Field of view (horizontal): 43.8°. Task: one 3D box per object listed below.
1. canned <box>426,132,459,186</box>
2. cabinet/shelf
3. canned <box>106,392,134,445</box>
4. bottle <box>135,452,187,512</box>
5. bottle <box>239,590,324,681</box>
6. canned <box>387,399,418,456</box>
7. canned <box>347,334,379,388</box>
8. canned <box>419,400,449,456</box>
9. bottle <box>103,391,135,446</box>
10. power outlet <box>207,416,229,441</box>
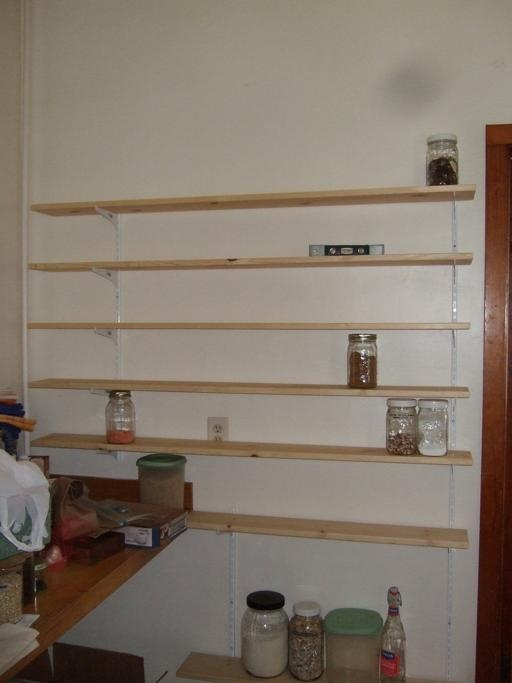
[{"bbox_3d":[0.564,-0.536,1.930,0.088,0.168,0.117,0,-5,14],"label":"canned"},{"bbox_3d":[-0.050,0.082,2.085,1.457,1.118,0.316,0,-5,12],"label":"cabinet/shelf"},{"bbox_3d":[-0.474,0.260,2.228,0.150,0.172,0.143,-1,2,-17],"label":"canned"},{"bbox_3d":[-0.304,0.495,2.176,0.142,0.190,0.147,-6,4,0],"label":"bottle"},{"bbox_3d":[0.133,0.929,2.040,0.332,0.263,0.172,0,-7,8],"label":"bottle"},{"bbox_3d":[0.455,0.257,1.976,0.101,0.160,0.100,0,0,38],"label":"canned"},{"bbox_3d":[0.335,0.060,2.004,0.103,0.159,0.094,0,1,8],"label":"canned"},{"bbox_3d":[0.546,0.261,1.957,0.093,0.170,0.195,0,-5,16],"label":"canned"},{"bbox_3d":[-0.473,0.261,2.228,0.105,0.170,0.106,-1,1,0],"label":"bottle"},{"bbox_3d":[-0.130,0.300,2.221,0.096,0.119,0.012,0,-1,9],"label":"power outlet"}]
